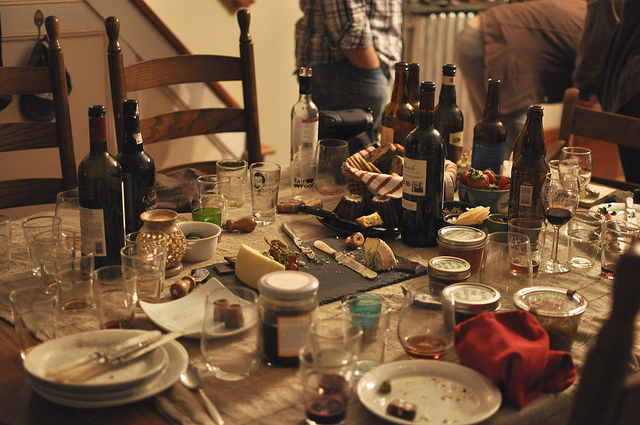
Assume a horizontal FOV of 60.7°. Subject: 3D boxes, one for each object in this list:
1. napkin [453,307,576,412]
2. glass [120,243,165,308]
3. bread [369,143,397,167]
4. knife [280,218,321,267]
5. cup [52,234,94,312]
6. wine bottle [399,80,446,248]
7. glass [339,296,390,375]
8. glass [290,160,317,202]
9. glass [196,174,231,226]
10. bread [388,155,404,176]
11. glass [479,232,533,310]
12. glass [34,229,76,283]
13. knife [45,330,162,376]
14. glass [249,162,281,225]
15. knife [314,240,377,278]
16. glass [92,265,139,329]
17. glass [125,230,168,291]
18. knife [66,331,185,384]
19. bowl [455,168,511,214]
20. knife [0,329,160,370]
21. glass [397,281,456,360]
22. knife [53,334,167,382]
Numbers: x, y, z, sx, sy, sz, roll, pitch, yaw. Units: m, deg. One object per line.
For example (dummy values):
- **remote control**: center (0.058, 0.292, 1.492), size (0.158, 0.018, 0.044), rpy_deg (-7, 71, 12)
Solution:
- **napkin**: center (0.462, 0.333, 1.287), size (0.284, 0.163, 0.223), rpy_deg (2, 16, 16)
- **glass**: center (-0.486, 0.183, 1.519), size (0.110, 0.162, 0.104), rpy_deg (-1, -8, -24)
- **bread**: center (0.244, -0.212, 2.113), size (0.028, 0.101, 0.067), rpy_deg (38, 14, -46)
- **knife**: center (-0.072, 0.091, 1.815), size (0.054, 0.019, 0.357), rpy_deg (-17, 19, -9)
- **cup**: center (-0.692, 0.161, 1.548), size (0.102, 0.182, 0.252), rpy_deg (-10, 17, -25)
- **wine bottle**: center (0.321, -0.138, 1.732), size (0.141, 0.540, 0.151), rpy_deg (-3, 16, 1)
- **glass**: center (0.099, 0.278, 1.233), size (0.109, 0.169, 0.117), rpy_deg (10, 23, 24)
- **glass**: center (-0.056, -0.106, 2.186), size (0.121, 0.138, 0.124), rpy_deg (4, -8, 12)
- **glass**: center (-0.395, -0.056, 1.951), size (0.115, 0.180, 0.178), rpy_deg (-3, 19, -15)
- **bread**: center (0.289, -0.178, 2.054), size (0.057, 0.068, 0.074), rpy_deg (3, 3, 0)
- **glass**: center (0.521, 0.161, 1.463), size (0.132, 0.198, 0.162), rpy_deg (-5, 16, -7)
- **glass**: center (-0.748, 0.127, 1.537), size (0.114, 0.128, 0.116), rpy_deg (7, 20, 12)
- **knife**: center (-0.494, 0.327, 1.253), size (0.243, 0.013, 0.034), rpy_deg (-15, 32, -35)
- **glass**: center (-0.198, -0.071, 1.991), size (0.109, 0.209, 0.111), rpy_deg (-5, 16, -7)
- **knife**: center (0.058, 0.123, 1.747), size (0.064, 0.033, 0.367), rpy_deg (-21, 26, -24)
- **glass**: center (-0.533, 0.224, 1.420), size (0.139, 0.159, 0.139), rpy_deg (2, 0, -41)
- **glass**: center (-0.505, 0.147, 1.587), size (0.120, 0.183, 0.119), rpy_deg (-3, -15, 5)
- **knife**: center (-0.448, 0.335, 1.249), size (0.332, 0.017, 0.038), rpy_deg (-16, 59, -32)
- **bowl**: center (0.581, -0.092, 1.952), size (0.162, 0.112, 0.165), rpy_deg (1, 11, 0)
- **knife**: center (-0.548, 0.321, 1.269), size (0.423, 0.024, 0.057), rpy_deg (-5, 36, -22)
- **glass**: center (0.273, 0.331, 1.371), size (0.159, 0.204, 0.214), rpy_deg (1, -28, 11)
- **knife**: center (-0.474, 0.324, 1.233), size (0.238, 0.033, 0.040), rpy_deg (-12, 18, -32)
